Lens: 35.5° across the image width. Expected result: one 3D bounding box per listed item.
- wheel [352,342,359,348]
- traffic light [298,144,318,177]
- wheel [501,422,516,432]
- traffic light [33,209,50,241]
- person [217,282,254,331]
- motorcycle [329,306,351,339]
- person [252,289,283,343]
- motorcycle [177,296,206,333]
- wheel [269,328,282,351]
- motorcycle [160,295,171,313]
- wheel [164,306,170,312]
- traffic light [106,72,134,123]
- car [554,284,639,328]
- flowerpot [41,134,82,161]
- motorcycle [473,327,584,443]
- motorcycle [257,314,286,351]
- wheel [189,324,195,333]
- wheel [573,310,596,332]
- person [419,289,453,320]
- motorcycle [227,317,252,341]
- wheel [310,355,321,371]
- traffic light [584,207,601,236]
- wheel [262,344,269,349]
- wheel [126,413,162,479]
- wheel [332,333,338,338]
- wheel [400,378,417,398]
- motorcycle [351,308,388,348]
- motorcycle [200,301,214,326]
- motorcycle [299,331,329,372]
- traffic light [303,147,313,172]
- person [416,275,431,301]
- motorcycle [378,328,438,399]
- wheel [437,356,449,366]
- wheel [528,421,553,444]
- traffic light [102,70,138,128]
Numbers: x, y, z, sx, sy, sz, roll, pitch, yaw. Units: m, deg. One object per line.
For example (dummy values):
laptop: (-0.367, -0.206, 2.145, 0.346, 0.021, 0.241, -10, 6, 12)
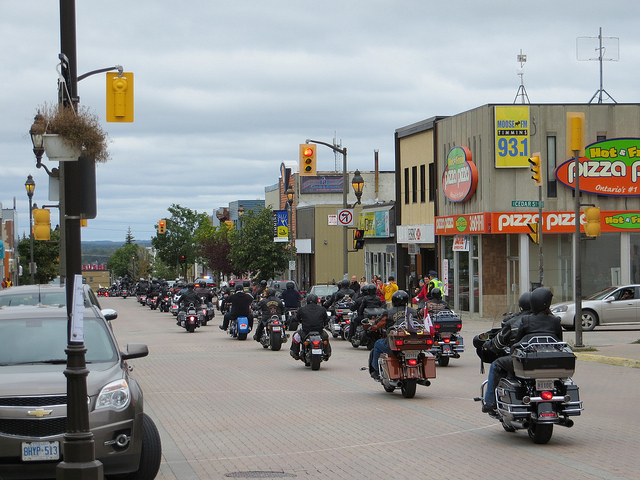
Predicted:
wheel: (1.039, 3.067, 29.139, 0.127, 0.134, 0.133, 0, 7, 0)
traffic light: (-0.509, -3.317, 41.557, 0.674, 1.266, 1.266, -1, -3, -4)
wheel: (2.951, 2.940, 15.694, 0.190, 0.175, 0.335, -1, -3, 10)
traffic light: (-7.348, -0.446, 26.474, 0.385, 0.843, 1.508, 0, -3, -14)
person: (-2.546, 2.106, 31.571, 0.850, 1.474, 1.343, 0, -3, -16)
motorcycle: (0.634, 2.608, 31.984, 0.647, 0.970, 1.826, -1, -3, -1)
person: (-1.487, 1.946, 28.223, 0.749, 0.795, 1.441, 2, 4, -5)
motorcycle: (-4.658, 2.772, 35.889, 0.786, 1.126, 0.850, -1, -3, -8)
wheel: (-1.229, 2.722, 27.620, 0.220, 0.559, 0.559, -3, -13, -8)
motorcycle: (-8.236, 3.463, 53.384, 0.465, 0.624, 1.090, 1, 2, -8)
wheel: (-8.176, 3.733, 53.554, 0.293, 0.315, 0.280, 0, 5, 0)
traffic light: (-4.136, -2.958, 20.695, 0.513, 1.089, 0.443, 0, -2, -15)
car: (9.544, 2.255, 33.357, 3.510, 1.189, 1.578, 1, -4, -4)
flowerpot: (-4.154, -1.492, 16.084, 0.574, 0.470, 0.451, 0, -3, -16)
motorcycle: (3.206, 2.502, 15.342, 0.822, 0.912, 1.561, -1, 2, -10)
motorcycle: (-1.291, 2.587, 27.853, 0.706, 1.027, 1.024, 0, -3, -19)
wheel: (-4.583, 3.145, 35.708, 0.119, 0.306, 0.306, -2, -11, -7)
wheel: (8.936, 2.709, 33.395, 0.537, 0.729, 0.277, 0, -3, -24)
person: (2.800, 1.728, 24.227, 0.758, 1.280, 0.420, -2, 30, -5)
motorcycle: (-2.561, 2.846, 31.938, 0.512, 0.543, 0.977, 1, -1, -13)
wheel: (-0.101, 2.832, 23.009, 0.238, 0.380, 0.420, -1, -3, -3)
traffic light: (7.916, -0.548, 29.029, 0.378, 0.893, 2.051, -1, -3, 14)
wheel: (-1.534, 3.018, 28.320, 0.186, 0.074, 0.186, 0, -1, 0)
wheel: (-2.263, 2.664, 12.769, 0.324, 0.773, 0.715, 0, 31, -12)
wheel: (0.487, 3.171, 33.025, 0.124, 0.120, 0.126, 2, 0, 0)
wheel: (1.671, 2.798, 18.899, 0.134, 0.403, 0.402, 1, -2, -5)
motorcycle: (1.371, 2.322, 26.868, 0.729, 0.860, 1.482, 2, 1, -5)
motorcycle: (-4.380, 2.832, 38.829, 0.434, 0.588, 1.015, -1, -4, -4)
motorcycle: (-0.126, 2.575, 23.173, 0.445, 0.911, 0.694, 1, -3, -31)
traffic light: (-0.491, -3.328, 41.412, 0.391, 0.942, 0.715, -1, -3, -1)
person: (3.443, 1.535, 32.960, 0.413, 0.959, 0.343, 6, -31, -3)
motorcycle: (1.624, 2.332, 18.904, 1.066, 1.334, 0.689, -1, -2, 13)
wheel: (2.927, 2.873, 23.723, 0.113, 0.287, 0.285, 1, -1, -11)
wheel: (3.304, 2.889, 14.965, 0.304, 0.331, 0.411, -1, -3, 2)
traffic light: (-4.145, -2.988, 20.710, 0.539, 1.144, 0.426, 0, -2, -17)
